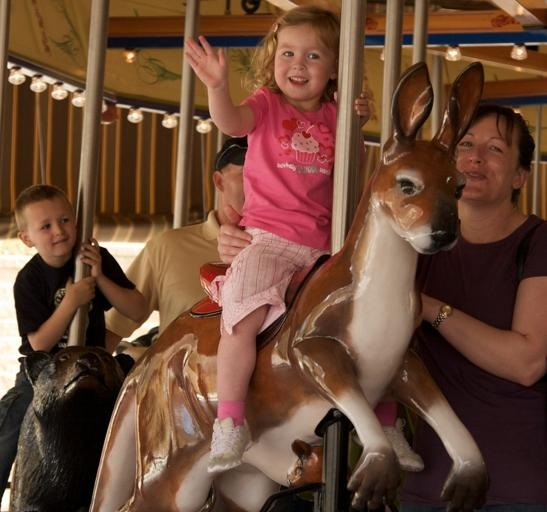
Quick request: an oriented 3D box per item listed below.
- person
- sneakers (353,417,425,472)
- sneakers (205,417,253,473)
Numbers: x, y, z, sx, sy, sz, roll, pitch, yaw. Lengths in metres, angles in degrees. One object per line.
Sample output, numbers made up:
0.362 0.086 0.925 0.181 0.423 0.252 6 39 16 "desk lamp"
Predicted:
-0.002 0.153 1.361 0.907 1.075 0.312 6 10 37 "person"
0.252 0.387 1.398 0.080 0.112 0.244 4 3 -19 "sneakers"
-0.090 0.375 1.277 0.059 0.077 0.156 -4 16 13 "sneakers"
